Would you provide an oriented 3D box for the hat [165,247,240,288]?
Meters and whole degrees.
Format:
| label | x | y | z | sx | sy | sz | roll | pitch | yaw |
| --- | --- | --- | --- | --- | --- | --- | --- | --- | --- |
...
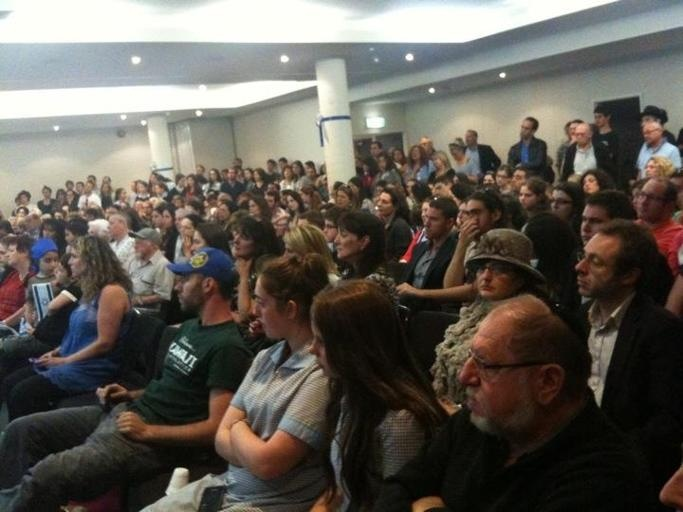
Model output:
| label | x | y | z | sx | sy | sz | roll | pitch | yaw |
| --- | --- | --- | --- | --- | --- | --- | --- | --- | --- |
| hat | -0.814 | 0.067 | 3.061 | 0.331 | 0.167 | 0.208 | 7 | -1 | -2 |

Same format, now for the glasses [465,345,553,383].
| label | x | y | z | sx | sy | sz | roll | pitch | yaw |
| --- | --- | --- | --- | --- | --- | --- | --- | --- | --- |
| glasses | 0.492 | 0.335 | 1.617 | 0.183 | 0.053 | 0.136 | -3 | 6 | 4 |

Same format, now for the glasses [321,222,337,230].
| label | x | y | z | sx | sy | sz | roll | pitch | yaw |
| --- | --- | --- | --- | --- | --- | --- | --- | --- | --- |
| glasses | -0.109 | -0.275 | 4.716 | 0.102 | 0.106 | 0.035 | 14 | 42 | 21 |

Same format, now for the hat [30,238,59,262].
| label | x | y | z | sx | sy | sz | roll | pitch | yaw |
| --- | --- | --- | --- | --- | --- | --- | --- | --- | --- |
| hat | -3.130 | -0.060 | 5.495 | 0.281 | 0.259 | 0.247 | 3 | 4 | -1 |

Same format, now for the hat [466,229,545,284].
| label | x | y | z | sx | sy | sz | roll | pitch | yaw |
| --- | --- | --- | --- | --- | --- | --- | --- | --- | --- |
| hat | 0.883 | -0.017 | 2.820 | 0.329 | 0.183 | 0.306 | 3 | -8 | 36 |

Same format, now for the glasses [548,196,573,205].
| label | x | y | z | sx | sy | sz | roll | pitch | yaw |
| --- | --- | --- | --- | --- | --- | --- | --- | --- | --- |
| glasses | 1.933 | -0.497 | 4.627 | 0.193 | 0.058 | 0.181 | 5 | -1 | -35 |
